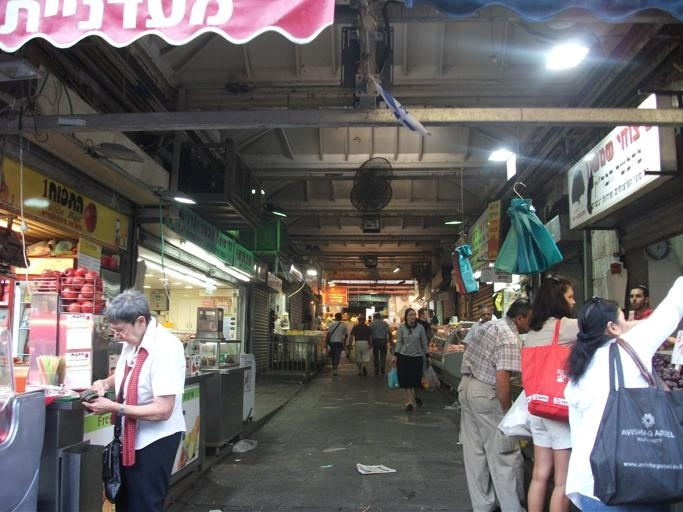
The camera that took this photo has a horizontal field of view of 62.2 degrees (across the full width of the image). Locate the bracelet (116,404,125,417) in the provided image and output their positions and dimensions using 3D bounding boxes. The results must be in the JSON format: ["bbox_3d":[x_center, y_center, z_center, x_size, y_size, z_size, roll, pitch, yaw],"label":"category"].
[{"bbox_3d":[-1.496,1.057,3.881,0.057,0.097,0.085,2,-1,-21],"label":"bracelet"}]

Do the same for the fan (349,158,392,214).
[{"bbox_3d":[0.428,-1.026,8.086,0.595,0.732,0.375,-1,-4,15],"label":"fan"}]

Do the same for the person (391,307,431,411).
[{"bbox_3d":[1.327,1.909,10.610,0.592,1.854,0.776,0,-4,6],"label":"person"}]

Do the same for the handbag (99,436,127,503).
[{"bbox_3d":[-1.597,1.480,3.960,0.142,0.435,0.094,1,-4,-6],"label":"handbag"}]

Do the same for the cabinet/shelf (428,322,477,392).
[{"bbox_3d":[2.398,2.140,12.812,0.718,1.116,2.984,1,-4,1],"label":"cabinet/shelf"}]
